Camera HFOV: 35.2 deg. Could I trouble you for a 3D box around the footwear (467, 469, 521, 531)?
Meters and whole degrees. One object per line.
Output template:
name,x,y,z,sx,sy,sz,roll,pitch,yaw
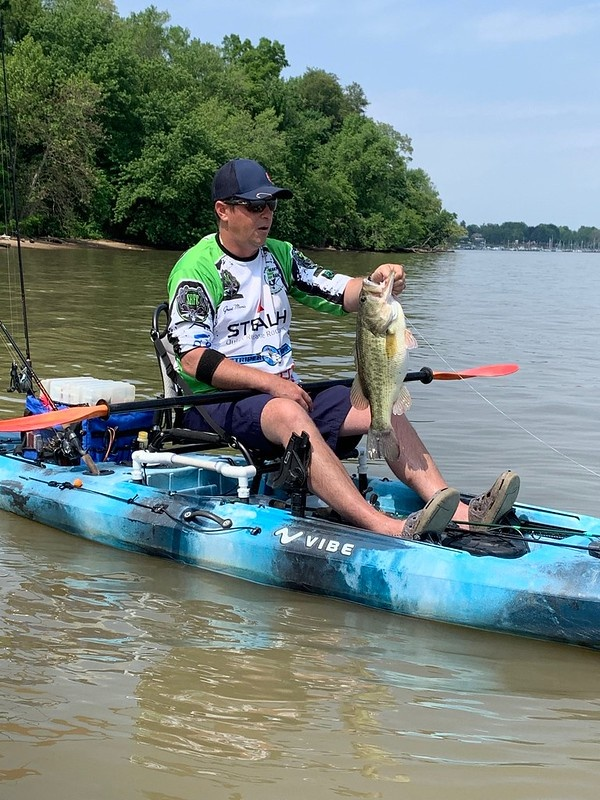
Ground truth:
footwear,0.859,0.431,4.189,0.195,0.271,0.217,4,11,9

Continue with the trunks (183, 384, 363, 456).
trunks,-0.140,0.107,4.630,0.532,0.167,0.520,-8,-5,39

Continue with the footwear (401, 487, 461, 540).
footwear,0.570,0.493,4.097,0.212,0.270,0.214,1,11,-5

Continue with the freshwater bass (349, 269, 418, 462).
freshwater bass,0.353,-0.117,4.040,0.250,0.835,0.312,3,12,2

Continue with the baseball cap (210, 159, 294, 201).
baseball cap,-0.277,-1.083,4.729,0.404,0.165,0.232,1,16,25
